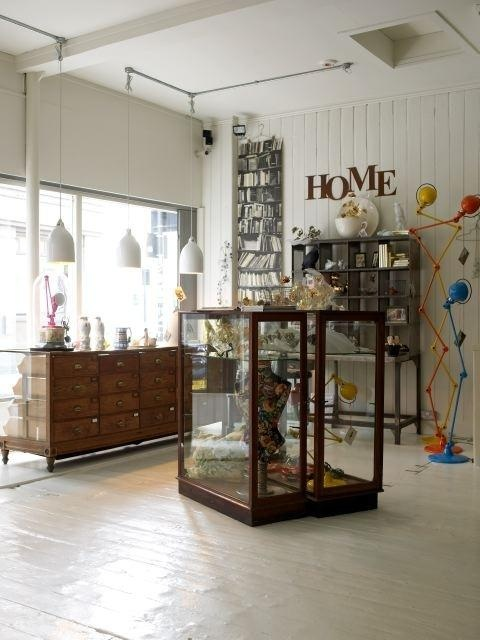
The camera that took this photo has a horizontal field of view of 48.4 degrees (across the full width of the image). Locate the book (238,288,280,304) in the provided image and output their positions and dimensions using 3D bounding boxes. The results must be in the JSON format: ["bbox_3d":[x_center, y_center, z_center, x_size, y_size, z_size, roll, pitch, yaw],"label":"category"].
[{"bbox_3d":[0.165,-0.221,4.825,0.338,0.119,0.254,2,4,14],"label":"book"}]

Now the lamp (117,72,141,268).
[{"bbox_3d":[-0.896,-1.234,4.556,0.211,1.507,0.212,-2,23,-13],"label":"lamp"}]

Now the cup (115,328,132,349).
[{"bbox_3d":[-1.081,0.173,5.004,0.124,0.203,0.193,-2,-4,28],"label":"cup"}]

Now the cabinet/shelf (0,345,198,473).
[{"bbox_3d":[-1.195,0.669,4.574,0.436,0.934,1.405,1,3,43],"label":"cabinet/shelf"}]

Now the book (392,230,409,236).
[{"bbox_3d":[1.607,-0.867,5.333,0.150,0.055,0.081,0,2,18],"label":"book"}]

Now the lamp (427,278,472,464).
[{"bbox_3d":[1.943,0.417,4.919,0.359,1.596,1.223,0,2,24],"label":"lamp"}]
